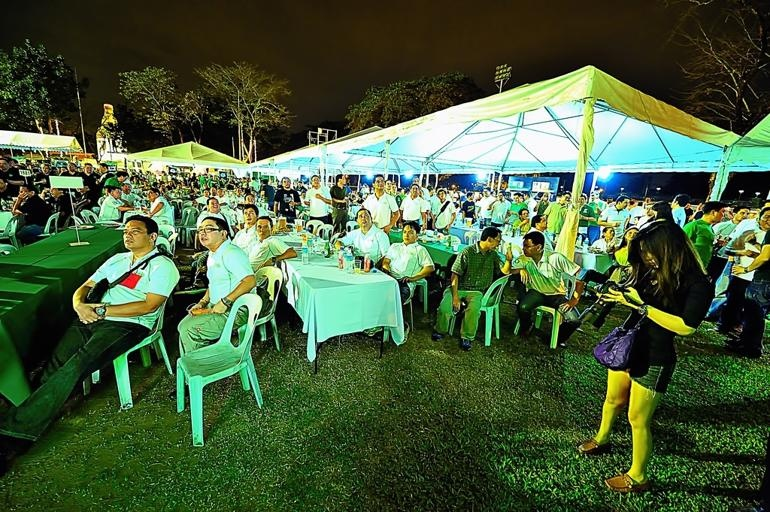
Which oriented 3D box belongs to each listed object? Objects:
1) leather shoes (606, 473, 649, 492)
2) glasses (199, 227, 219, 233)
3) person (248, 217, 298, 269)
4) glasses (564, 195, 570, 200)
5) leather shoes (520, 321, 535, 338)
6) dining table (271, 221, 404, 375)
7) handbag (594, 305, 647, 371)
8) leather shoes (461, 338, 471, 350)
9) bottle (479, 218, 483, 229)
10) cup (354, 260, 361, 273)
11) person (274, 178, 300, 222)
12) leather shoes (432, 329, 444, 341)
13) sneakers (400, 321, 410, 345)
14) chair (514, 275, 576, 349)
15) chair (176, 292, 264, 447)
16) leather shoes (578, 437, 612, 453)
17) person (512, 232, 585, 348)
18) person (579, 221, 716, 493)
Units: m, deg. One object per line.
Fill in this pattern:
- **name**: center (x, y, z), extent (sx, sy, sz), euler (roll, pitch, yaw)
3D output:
- **leather shoes**: center (2.624, 2.484, 4.820), extent (0.418, 0.150, 0.189), euler (-3, 14, 23)
- **glasses**: center (-2.218, -0.361, 5.537), extent (0.196, 0.059, 0.041), euler (1, 13, -3)
- **person**: center (-1.943, -0.234, 6.926), extent (1.173, 0.784, 0.391), euler (7, 4, 30)
- **glasses**: center (3.531, -1.204, 8.557), extent (0.131, 0.040, 0.137), euler (-14, 1, 42)
- **leather shoes**: center (2.255, 1.079, 6.903), extent (0.157, 0.296, 0.294), euler (7, 7, 26)
- **dining table**: center (-0.604, 0.680, 6.095), extent (1.022, 0.723, 1.854), euler (-10, 33, -21)
- **handbag**: center (2.550, 0.869, 4.773), extent (0.372, 0.723, 0.489), euler (23, 5, 5)
- **leather shoes**: center (1.186, 1.276, 6.527), extent (0.159, 0.073, 0.211), euler (-1, -5, 11)
- **bottle**: center (2.016, -0.736, 9.345), extent (0.031, 0.127, 0.238), euler (-5, 5, 29)
- **cup**: center (-0.402, 0.109, 6.411), extent (0.162, 0.187, 0.146), euler (0, -2, 2)
- **person**: center (-2.493, -1.701, 11.254), extent (0.339, 1.162, 0.466), euler (-19, 39, -24)
- **leather shoes**: center (0.806, 1.180, 6.732), extent (0.176, 0.096, 0.242), euler (1, 0, 7)
- **sneakers**: center (0.310, 1.155, 6.800), extent (0.111, 0.352, 0.076), euler (17, -23, -17)
- **chair**: center (2.481, 0.804, 6.787), extent (0.870, 1.015, 0.469), euler (6, 13, 18)
- **chair**: center (-2.000, 1.250, 5.332), extent (0.977, 1.648, 0.786), euler (-5, 14, -30)
- **leather shoes**: center (2.443, 2.224, 5.220), extent (0.382, 0.149, 0.159), euler (-1, -8, 11)
- **person**: center (2.430, 0.449, 6.863), extent (0.977, 1.728, 1.265), euler (-26, 22, -39)
- **person**: center (2.738, 1.104, 4.689), extent (0.961, 2.984, 0.495), euler (9, 14, 29)
